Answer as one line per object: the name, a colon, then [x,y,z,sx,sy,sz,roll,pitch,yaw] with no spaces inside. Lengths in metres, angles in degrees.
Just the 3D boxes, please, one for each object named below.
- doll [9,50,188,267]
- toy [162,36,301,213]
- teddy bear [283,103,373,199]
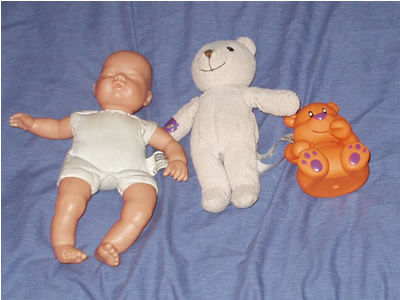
doll: [-0.375,0.018,2.520,0.624,0.505,0.899,-11,39,-19]
toy: [0.118,-0.066,2.599,0.708,0.695,0.858,1,28,3]
teddy bear: [0.529,-0.016,2.551,0.364,0.277,0.399,0,37,-5]
